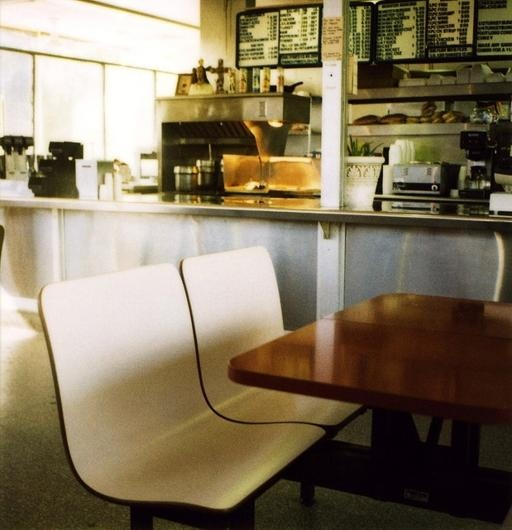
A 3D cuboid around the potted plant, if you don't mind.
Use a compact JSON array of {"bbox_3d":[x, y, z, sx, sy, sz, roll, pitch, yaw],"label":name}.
[{"bbox_3d":[0.629,-0.534,3.277,0.240,0.333,0.263,7,24,16],"label":"potted plant"}]
